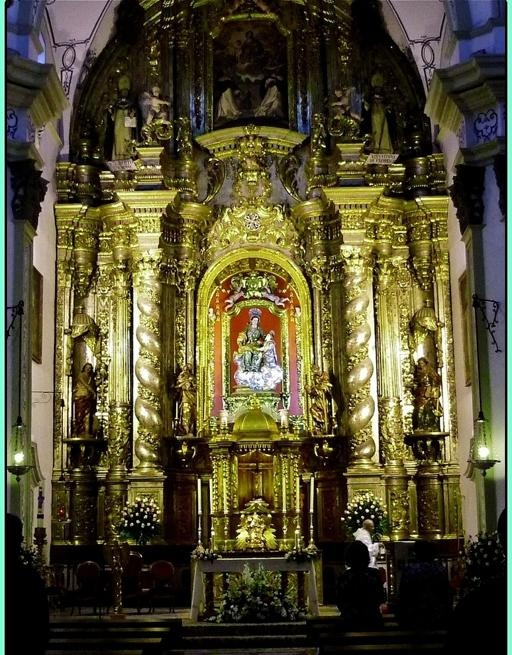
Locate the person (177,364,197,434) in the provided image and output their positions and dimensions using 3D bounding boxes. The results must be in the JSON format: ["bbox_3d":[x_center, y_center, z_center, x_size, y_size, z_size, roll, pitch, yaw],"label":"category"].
[{"bbox_3d":[-1.029,1.115,16.967,0.360,1.093,0.193,10,-17,-36],"label":"person"}]

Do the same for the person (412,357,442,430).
[{"bbox_3d":[2.596,1.041,17.020,0.436,1.144,0.354,-2,-14,7],"label":"person"}]

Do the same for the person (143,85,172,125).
[{"bbox_3d":[-1.592,-3.476,17.665,0.415,0.848,0.638,2,-14,-8],"label":"person"}]

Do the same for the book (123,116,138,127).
[{"bbox_3d":[-2.017,-3.297,17.938,0.184,0.175,0.025,-2,1,-4],"label":"book"}]

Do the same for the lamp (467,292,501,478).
[{"bbox_3d":[2.465,0.605,12.114,0.440,1.995,0.315,-8,-16,27],"label":"lamp"}]

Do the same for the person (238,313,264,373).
[{"bbox_3d":[-0.092,0.200,17.832,0.471,1.072,0.261,1,-14,-6],"label":"person"}]

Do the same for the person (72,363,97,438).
[{"bbox_3d":[-2.618,1.135,17.082,0.356,1.149,0.326,3,-14,-11],"label":"person"}]

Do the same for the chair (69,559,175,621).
[{"bbox_3d":[-1.681,3.362,14.238,1.107,0.659,0.372,1,-16,-5],"label":"chair"}]

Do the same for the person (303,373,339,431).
[{"bbox_3d":[0.990,1.114,16.833,0.426,1.062,0.271,-1,-14,3],"label":"person"}]

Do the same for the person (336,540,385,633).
[{"bbox_3d":[0.894,2.258,9.814,0.424,0.753,0.360,-4,-15,16],"label":"person"}]

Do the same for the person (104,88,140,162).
[{"bbox_3d":[-2.212,-3.291,18.139,0.684,1.279,0.250,-12,-18,38],"label":"person"}]
